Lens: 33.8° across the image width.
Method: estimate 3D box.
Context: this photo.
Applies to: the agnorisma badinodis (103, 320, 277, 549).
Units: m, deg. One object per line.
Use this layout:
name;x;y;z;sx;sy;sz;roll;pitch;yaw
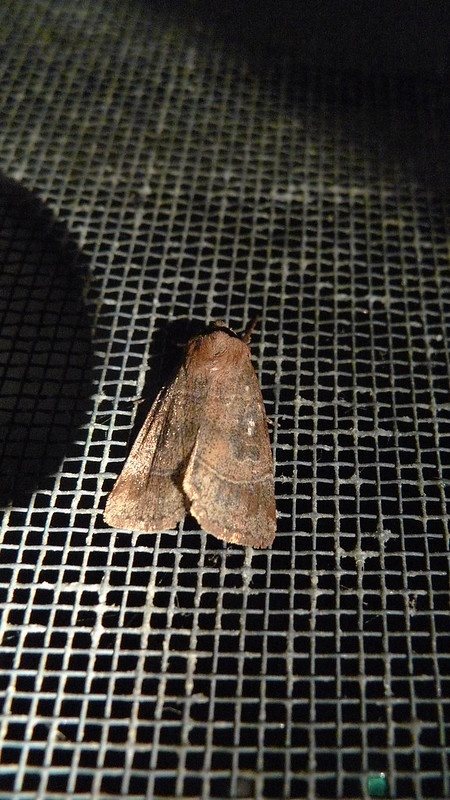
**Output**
agnorisma badinodis;-0.072;0.121;2.226;0.441;0.204;0.690;4;70;5
